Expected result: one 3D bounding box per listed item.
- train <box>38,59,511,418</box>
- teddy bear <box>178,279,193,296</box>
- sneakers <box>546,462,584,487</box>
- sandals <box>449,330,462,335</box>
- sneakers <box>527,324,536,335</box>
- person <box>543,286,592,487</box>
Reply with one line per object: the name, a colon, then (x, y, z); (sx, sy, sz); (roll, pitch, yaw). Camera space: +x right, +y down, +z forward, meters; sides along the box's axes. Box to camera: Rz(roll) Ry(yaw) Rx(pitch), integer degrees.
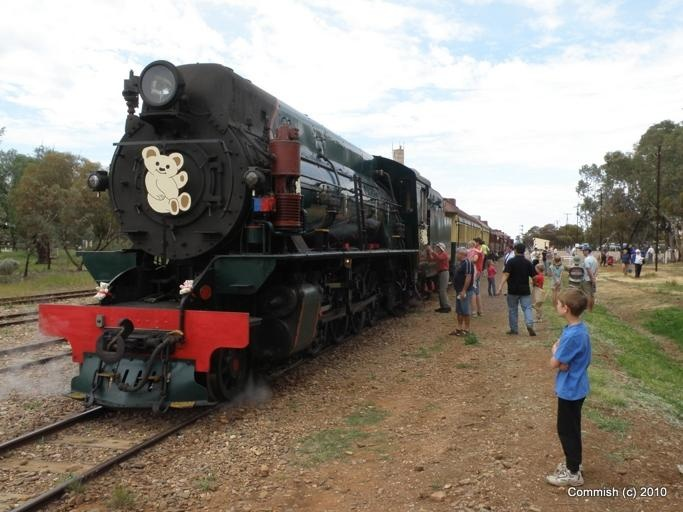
train: (-1.229, -0.405, 11.834); (3.976, 4.625, 11.764); (-1, 1, 21)
teddy bear: (-2.217, 0.438, 6.860); (0.214, 0.077, 0.220); (-10, 19, 29)
sneakers: (2.237, 2.223, 4.969); (0.435, 0.213, 0.157); (1, -6, 11)
sandals: (2.679, 1.782, 11.467); (0.317, 0.144, 0.113); (1, 0, 20)
sneakers: (4.339, 1.731, 11.115); (0.126, 0.354, 0.151); (-19, 26, 22)
person: (2.317, 1.308, 4.969); (0.376, 1.961, 0.507); (1, 5, 28)
